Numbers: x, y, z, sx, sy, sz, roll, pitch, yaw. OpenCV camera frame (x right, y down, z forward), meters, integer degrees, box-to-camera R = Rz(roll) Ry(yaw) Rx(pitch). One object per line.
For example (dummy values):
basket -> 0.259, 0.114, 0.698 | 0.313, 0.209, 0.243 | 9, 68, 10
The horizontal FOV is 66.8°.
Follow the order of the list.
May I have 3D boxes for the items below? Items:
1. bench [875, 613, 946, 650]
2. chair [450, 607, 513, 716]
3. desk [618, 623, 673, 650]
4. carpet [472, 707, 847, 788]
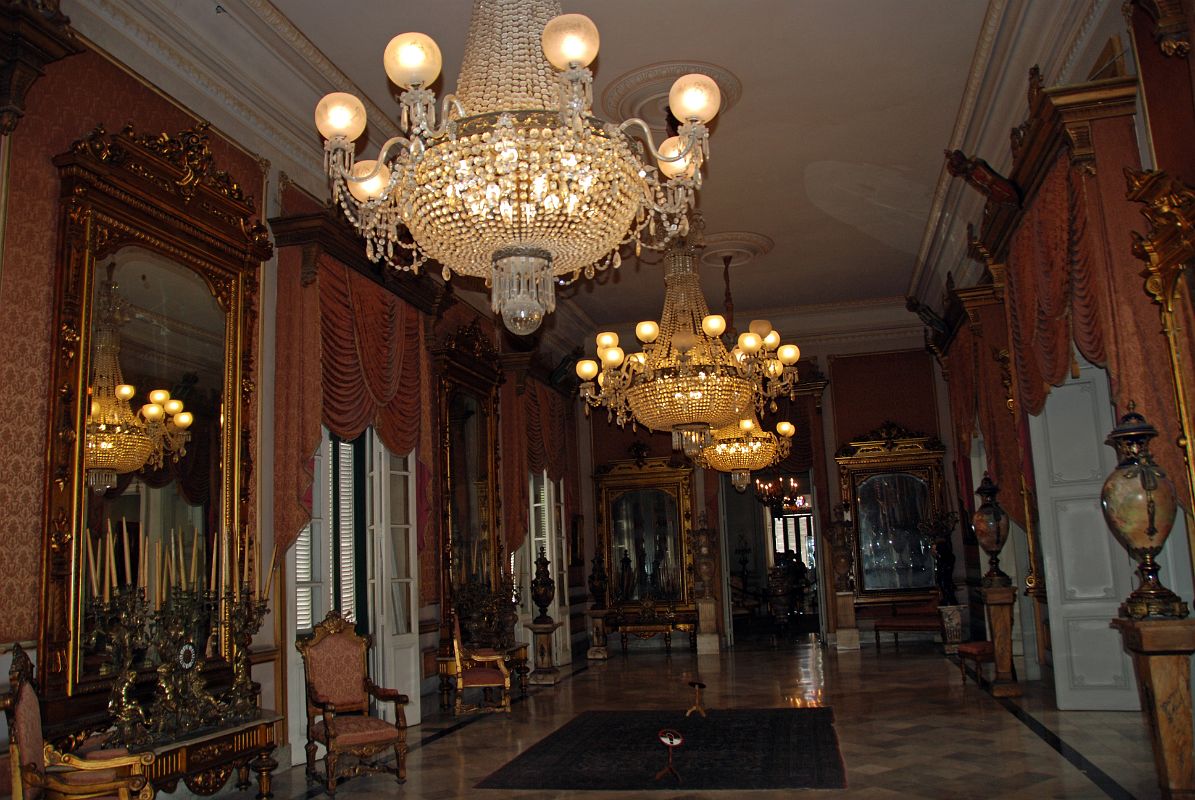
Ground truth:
bench -> 5.082, 3.781, 14.862 | 1.051, 0.538, 1.702 | -11, -14, 15
chair -> -1.400, 3.229, 11.083 | 0.893, 1.194, 0.885 | 13, -23, -41
desk -> 0.838, 4.285, 16.311 | 1.014, 0.519, 0.924 | -8, -13, 4
carpet -> 0.811, 3.423, 8.933 | 3.055, 0.499, 3.179 | -10, -14, 10
